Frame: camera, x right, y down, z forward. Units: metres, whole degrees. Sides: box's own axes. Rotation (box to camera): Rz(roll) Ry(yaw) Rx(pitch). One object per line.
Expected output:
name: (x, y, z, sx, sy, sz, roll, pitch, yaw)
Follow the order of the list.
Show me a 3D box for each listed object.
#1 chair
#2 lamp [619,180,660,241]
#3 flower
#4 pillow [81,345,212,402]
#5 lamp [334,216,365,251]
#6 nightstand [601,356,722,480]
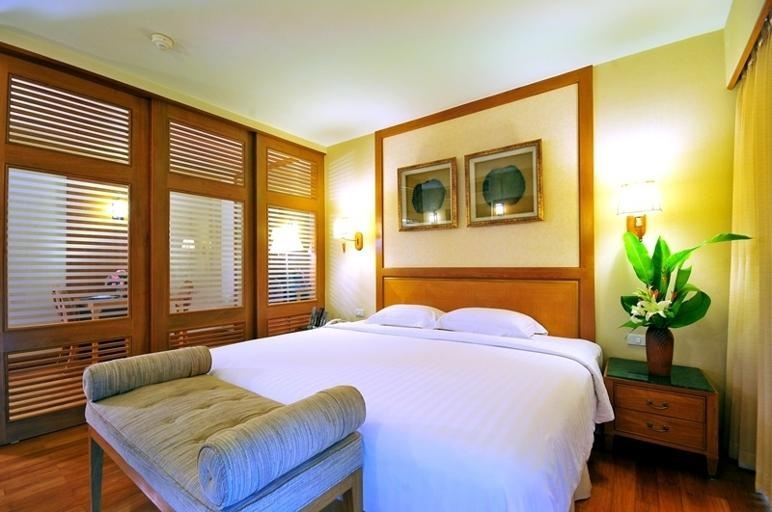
chair: (-2.500, 0.615, 4.714, 0.653, 0.948, 0.650, -5, -5, 13)
lamp: (2.236, -0.386, 4.373, 0.336, 0.511, 0.363, -2, 3, 43)
flower: (2.357, 0.246, 4.063, 0.823, 0.529, 0.839, -8, 2, -25)
pillow: (-1.780, 0.844, 3.621, 1.170, 0.352, 0.329, 1, -7, -31)
lamp: (-0.496, -0.247, 6.073, 0.416, 0.494, 0.406, 2, -5, -37)
nightstand: (2.291, 1.313, 4.198, 0.843, 0.680, 0.668, 2, 8, 22)
